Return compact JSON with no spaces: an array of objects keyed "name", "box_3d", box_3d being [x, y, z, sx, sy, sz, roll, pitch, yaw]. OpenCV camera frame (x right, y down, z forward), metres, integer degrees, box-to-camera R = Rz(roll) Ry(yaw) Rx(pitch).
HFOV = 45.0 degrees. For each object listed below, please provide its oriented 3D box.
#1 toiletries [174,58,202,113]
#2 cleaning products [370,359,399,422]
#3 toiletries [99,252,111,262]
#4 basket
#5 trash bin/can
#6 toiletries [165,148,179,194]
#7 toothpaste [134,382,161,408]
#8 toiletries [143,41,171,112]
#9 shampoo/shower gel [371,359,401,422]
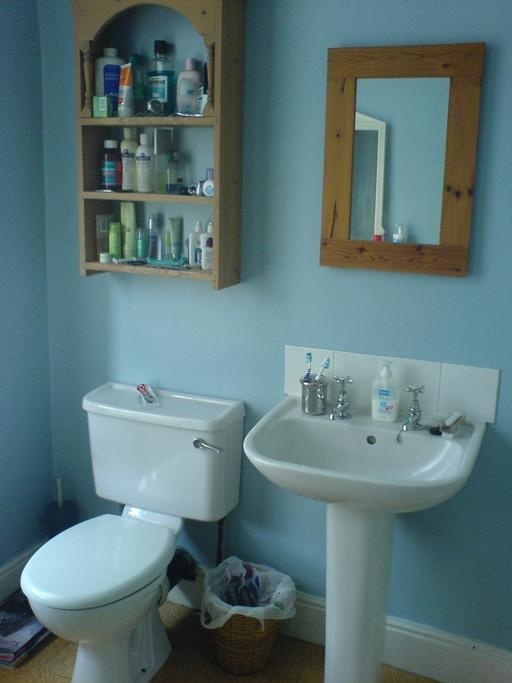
[{"name":"toiletries","box_3d":[-0.187,-0.700,1.695,0.069,0.156,0.052,0,48,-8]},{"name":"cleaning products","box_3d":[0.346,0.132,1.651,0.072,0.160,0.040,6,26,20]},{"name":"toiletries","box_3d":[-0.462,-0.261,1.892,0.031,0.022,0.031,10,17,17]},{"name":"basket","box_3d":[-0.032,0.801,1.904,0.292,0.301,0.272,6,7,41]},{"name":"trash bin/can","box_3d":[-0.038,0.810,1.904,0.269,0.301,0.283,7,10,37]},{"name":"toiletries","box_3d":[-0.244,-0.494,1.801,0.035,0.113,0.027,-1,19,-16]},{"name":"toothpaste","box_3d":[-0.342,0.167,1.974,0.049,0.019,0.089,6,32,-35]},{"name":"toiletries","box_3d":[-0.267,-0.731,1.727,0.087,0.190,0.045,12,23,24]},{"name":"shampoo/shower gel","box_3d":[0.339,0.132,1.651,0.076,0.154,0.064,11,20,9]}]
